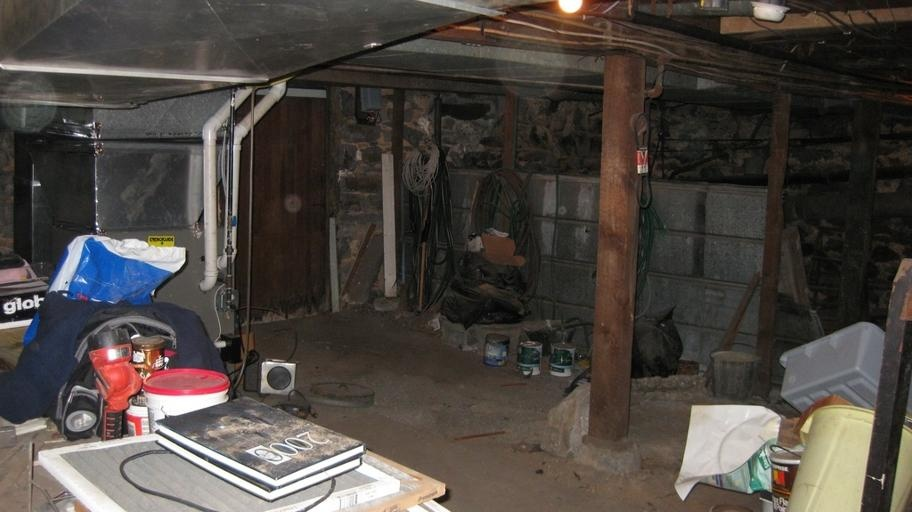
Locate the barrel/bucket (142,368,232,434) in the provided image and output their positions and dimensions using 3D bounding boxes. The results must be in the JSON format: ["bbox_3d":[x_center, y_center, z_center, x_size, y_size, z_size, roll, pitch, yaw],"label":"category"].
[{"bbox_3d":[-2.095,1.055,5.820,0.550,0.362,0.518,4,6,0],"label":"barrel/bucket"}]

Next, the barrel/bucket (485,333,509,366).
[{"bbox_3d":[0.579,1.369,11.014,0.382,0.367,0.360,6,5,-1],"label":"barrel/bucket"}]

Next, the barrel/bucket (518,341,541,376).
[{"bbox_3d":[1.033,1.443,10.795,0.390,0.395,0.374,1,8,0],"label":"barrel/bucket"}]

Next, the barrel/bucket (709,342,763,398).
[{"bbox_3d":[3.510,1.511,9.698,0.636,0.417,0.542,0,2,-28],"label":"barrel/bucket"}]

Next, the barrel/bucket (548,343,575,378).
[{"bbox_3d":[1.527,1.464,10.742,0.419,0.413,0.338,4,2,18],"label":"barrel/bucket"}]
